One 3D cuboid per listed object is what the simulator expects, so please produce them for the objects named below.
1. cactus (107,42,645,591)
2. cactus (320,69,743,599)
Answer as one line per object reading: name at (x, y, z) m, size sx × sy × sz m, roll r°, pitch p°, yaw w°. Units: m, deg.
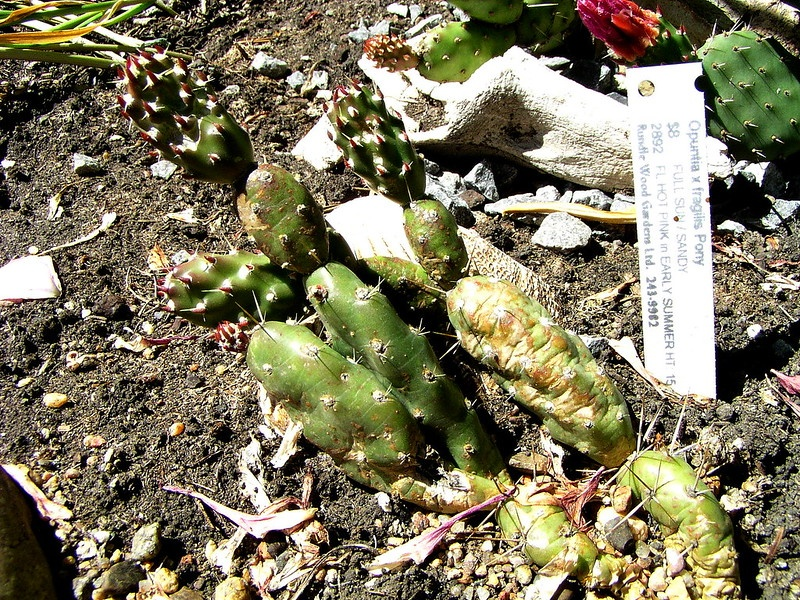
cactus at (-0.198, 0.111, 3.320) m, size 2.908 × 0.761 × 1.229 m, roll 47°, pitch 10°, yaw 2°
cactus at (0.570, 0.197, 3.304) m, size 2.474 × 0.487 × 0.581 m, roll 48°, pitch 27°, yaw 9°
